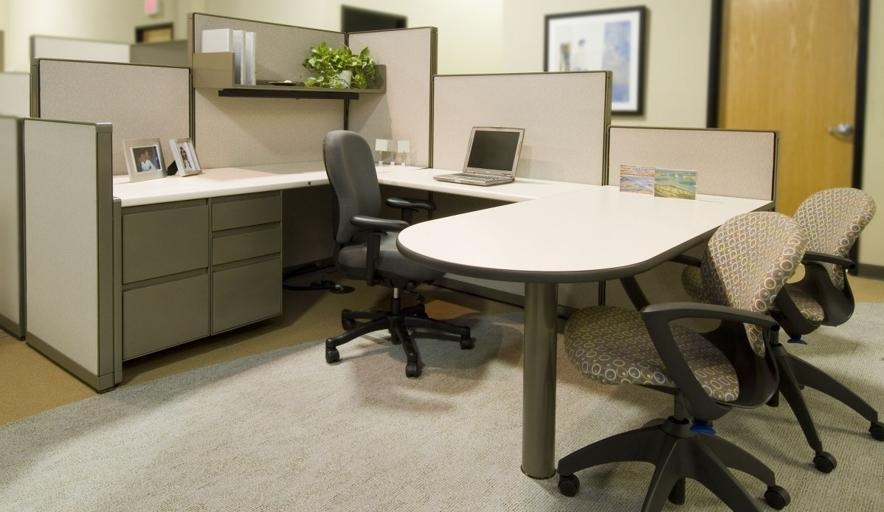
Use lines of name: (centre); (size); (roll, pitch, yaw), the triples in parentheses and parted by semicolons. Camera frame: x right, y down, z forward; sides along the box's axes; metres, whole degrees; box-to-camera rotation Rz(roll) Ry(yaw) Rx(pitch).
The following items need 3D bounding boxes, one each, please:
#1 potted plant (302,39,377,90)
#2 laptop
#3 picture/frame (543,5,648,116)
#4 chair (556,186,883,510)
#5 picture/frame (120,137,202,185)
potted plant: (-0.826, -1.553, 4.965); (0.601, 0.365, 0.358); (-5, 19, -14)
laptop: (0.289, -0.731, 4.443); (0.594, 0.404, 0.529); (14, 18, 42)
picture/frame: (1.500, -1.904, 5.971); (1.044, 0.999, 0.131); (9, 22, 27)
chair: (1.493, 0.324, 3.500); (1.785, 1.731, 1.376); (0, 9, 4)
picture/frame: (-1.962, -0.653, 4.190); (0.142, 0.184, 0.399); (-3, 5, 32)
